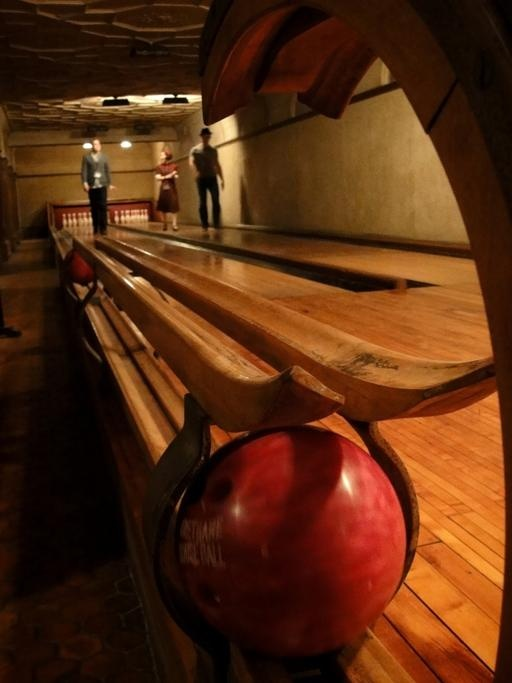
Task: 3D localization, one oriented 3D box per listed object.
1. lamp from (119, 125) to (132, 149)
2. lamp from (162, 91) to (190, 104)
[{"bbox_3d":[-5.127,-8.092,18.164,0.620,0.558,1.004,1,33,-4],"label":"lamp"},{"bbox_3d":[-2.255,-6.701,12.841,0.618,0.306,0.658,1,32,-5],"label":"lamp"}]
